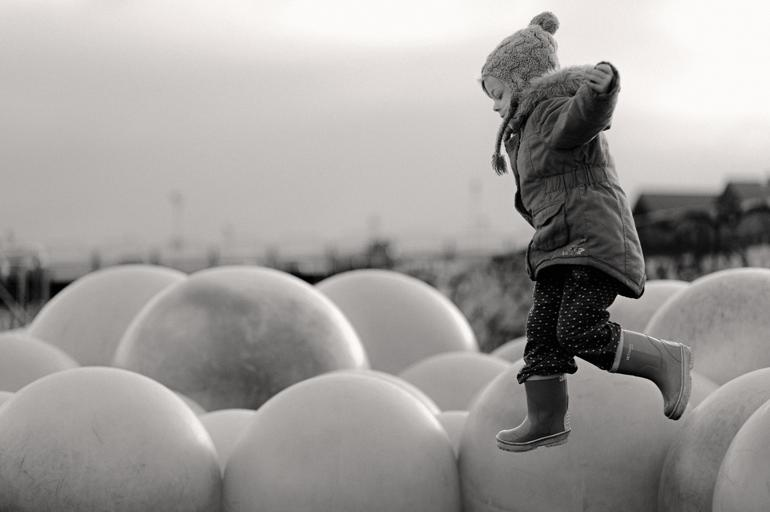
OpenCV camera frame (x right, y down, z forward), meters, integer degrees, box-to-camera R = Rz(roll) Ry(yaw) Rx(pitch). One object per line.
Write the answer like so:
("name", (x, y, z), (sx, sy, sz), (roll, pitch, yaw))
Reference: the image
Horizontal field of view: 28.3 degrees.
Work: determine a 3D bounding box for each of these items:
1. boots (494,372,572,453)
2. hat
("boots", (0.687, 0.695, 6.712), (0.398, 0.439, 0.204), (-1, -8, 9))
("hat", (0.610, -0.815, 7.007), (0.310, 0.349, 0.433), (7, -9, -32))
